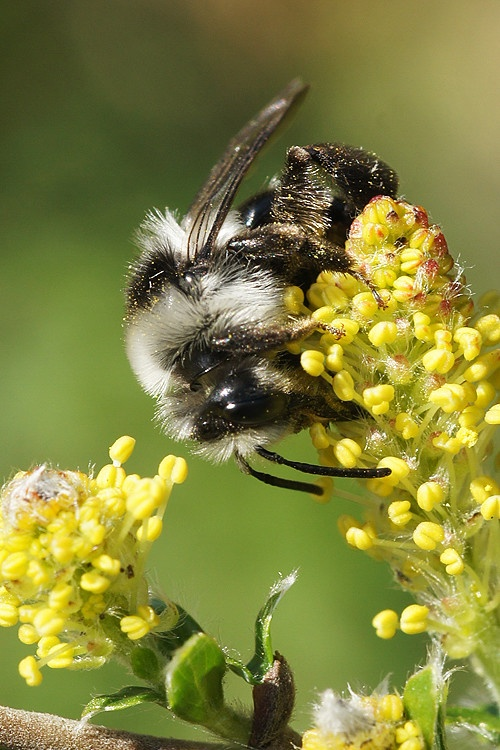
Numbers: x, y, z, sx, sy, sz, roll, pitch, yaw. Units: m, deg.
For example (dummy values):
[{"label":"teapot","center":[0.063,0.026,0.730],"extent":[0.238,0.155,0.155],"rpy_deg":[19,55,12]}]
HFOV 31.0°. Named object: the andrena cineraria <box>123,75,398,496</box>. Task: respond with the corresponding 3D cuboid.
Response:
[{"label":"andrena cineraria","center":[-0.013,-0.054,0.791],"extent":[0.137,0.261,0.365],"rpy_deg":[10,-38,-32]}]
